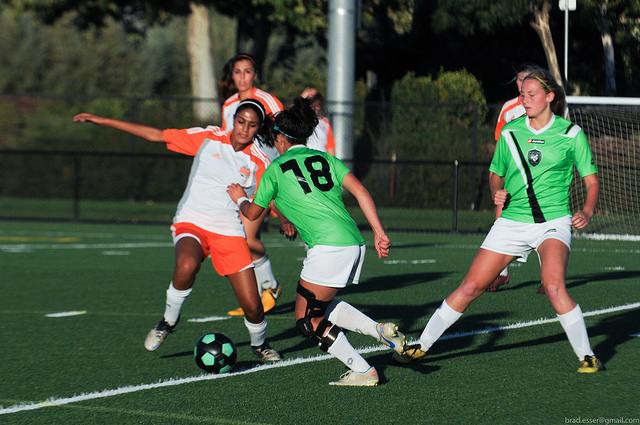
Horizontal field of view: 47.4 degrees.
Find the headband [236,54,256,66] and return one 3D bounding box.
[{"bbox_3d":[-0.928,-1.912,9.150,0.270,0.146,0.255,7,12,35],"label":"headband"}]

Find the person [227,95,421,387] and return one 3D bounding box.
[{"bbox_3d":[0.048,0.284,7.266,1.442,2.795,0.597,4,10,28],"label":"person"}]

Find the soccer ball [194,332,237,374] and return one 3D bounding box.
[{"bbox_3d":[-1.070,1.452,7.497,0.422,0.400,0.162,-2,9,-11],"label":"soccer ball"}]
